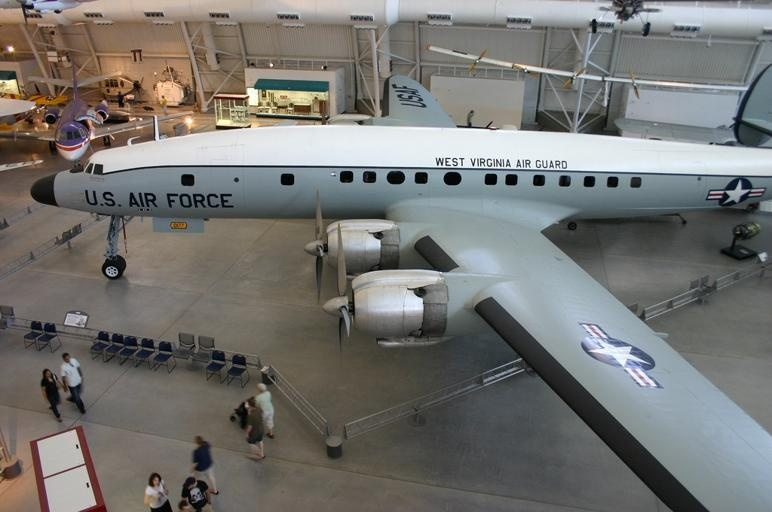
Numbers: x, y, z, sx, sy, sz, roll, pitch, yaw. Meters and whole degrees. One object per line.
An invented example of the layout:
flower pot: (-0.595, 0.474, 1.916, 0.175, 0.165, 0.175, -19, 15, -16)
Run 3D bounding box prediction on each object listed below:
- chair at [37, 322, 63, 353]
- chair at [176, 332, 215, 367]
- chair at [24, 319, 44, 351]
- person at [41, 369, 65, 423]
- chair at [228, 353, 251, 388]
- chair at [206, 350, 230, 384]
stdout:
chair: (-12.861, 3.087, 21.587, 0.787, 0.887, 0.698, -20, 37, -29)
chair: (-7.089, 3.532, 21.167, 1.176, 0.751, 0.491, 3, 9, 21)
chair: (-13.434, 3.078, 21.752, 0.686, 1.102, 0.768, 11, 33, -8)
person: (-11.222, 4.663, 19.211, 0.461, 1.758, 0.808, -24, 39, -33)
chair: (-5.305, 4.179, 20.562, 0.874, 1.352, 0.889, 3, 21, 0)
chair: (-6.120, 4.069, 20.663, 0.808, 1.386, 0.932, 7, 20, 3)
